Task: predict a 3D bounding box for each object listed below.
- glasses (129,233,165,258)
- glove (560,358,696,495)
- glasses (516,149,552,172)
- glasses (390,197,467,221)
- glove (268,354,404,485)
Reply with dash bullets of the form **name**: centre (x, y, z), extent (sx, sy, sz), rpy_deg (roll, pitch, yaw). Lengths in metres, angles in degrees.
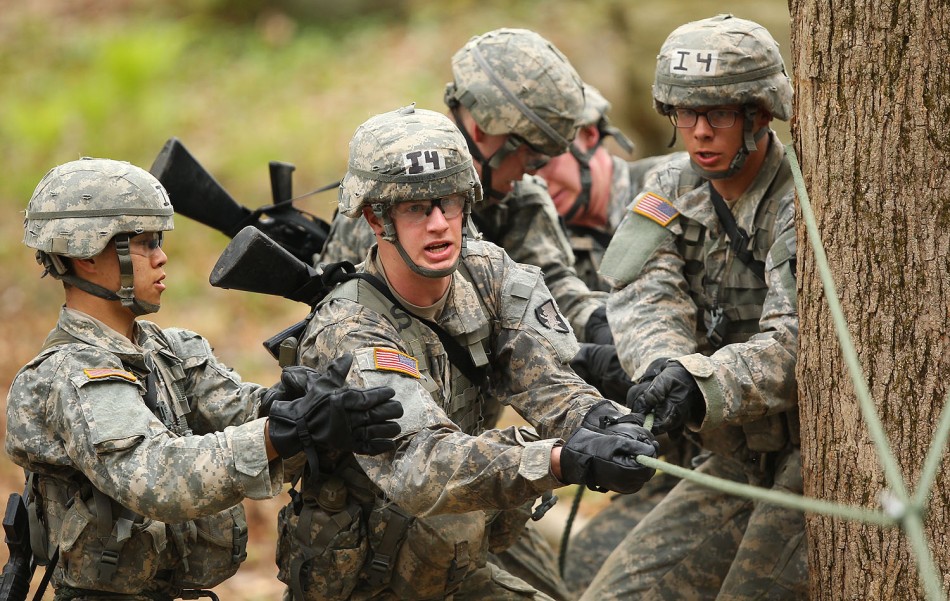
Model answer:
- **glasses**: centre (-2.149, -0.349, 9.321), extent (0.168, 0.093, 0.138), rpy_deg (-10, -7, 32)
- **glove**: centre (1.000, 0.765, 9.069), extent (0.563, 0.357, 0.961), rpy_deg (-4, 24, 33)
- **glasses**: centre (0.444, -1.024, 10.645), extent (0.136, 0.198, 0.174), rpy_deg (27, 18, 7)
- **glasses**: centre (-0.287, -0.582, 9.180), extent (0.208, 0.080, 0.271), rpy_deg (-2, -16, -28)
- **glove**: centre (-0.892, 0.679, 8.909), extent (0.865, 0.627, 0.316), rpy_deg (-9, -7, -6)
